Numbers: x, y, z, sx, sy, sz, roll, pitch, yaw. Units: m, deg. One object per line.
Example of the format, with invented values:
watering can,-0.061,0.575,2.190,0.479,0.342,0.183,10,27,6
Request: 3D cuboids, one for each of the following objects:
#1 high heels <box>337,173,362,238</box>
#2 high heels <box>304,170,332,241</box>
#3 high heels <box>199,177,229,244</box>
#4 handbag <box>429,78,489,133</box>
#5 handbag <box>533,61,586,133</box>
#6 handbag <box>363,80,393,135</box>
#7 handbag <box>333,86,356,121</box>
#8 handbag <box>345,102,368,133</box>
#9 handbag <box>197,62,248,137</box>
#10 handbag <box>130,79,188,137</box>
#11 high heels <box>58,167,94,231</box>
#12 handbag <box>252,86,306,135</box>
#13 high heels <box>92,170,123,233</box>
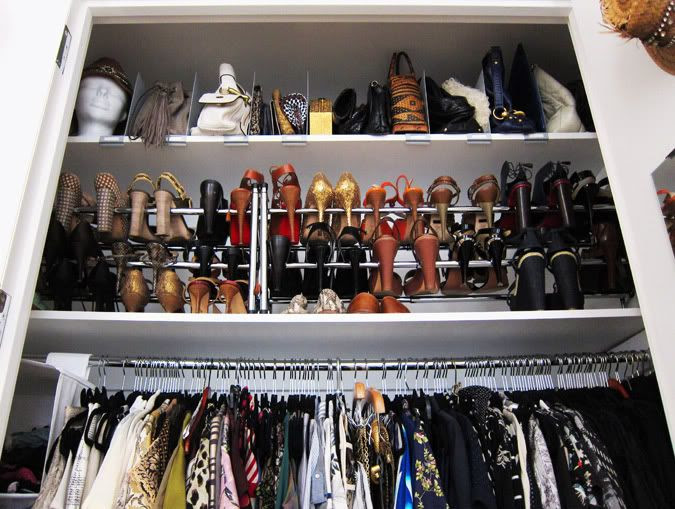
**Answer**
high heels,0.045,-0.210,2.217,0.074,0.247,0.095,-3,-53,-2
high heels,-0.087,-0.184,2.372,0.125,0.232,0.436,2,1,-6
high heels,-0.510,-0.141,2.290,0.104,0.171,0.367,1,-17,-6
handbag,0.502,-0.628,2.400,0.239,0.219,0.083,0,-32,0
handbag,0.943,-0.662,2.389,0.070,0.285,0.214,-10,-4,-33
handbag,0.163,-0.588,2.424,0.091,0.226,0.291,-1,3,-1
handbag,0.026,-0.668,2.519,0.044,0.138,0.242,-4,5,-19
handbag,0.082,-0.578,2.397,0.053,0.074,0.170,1,32,7
handbag,-0.469,-0.638,2.408,0.220,0.369,0.220,5,-19,-9
handbag,-0.753,-0.583,2.348,0.181,0.285,0.126,3,-21,2
high heels,-1.019,-0.197,2.146,0.081,0.285,0.081,0,-13,-22
handbag,-0.261,-0.621,2.458,0.211,0.268,0.072,2,-14,-4
high heels,-0.878,-0.192,2.134,0.073,0.265,0.083,-2,-5,-5
